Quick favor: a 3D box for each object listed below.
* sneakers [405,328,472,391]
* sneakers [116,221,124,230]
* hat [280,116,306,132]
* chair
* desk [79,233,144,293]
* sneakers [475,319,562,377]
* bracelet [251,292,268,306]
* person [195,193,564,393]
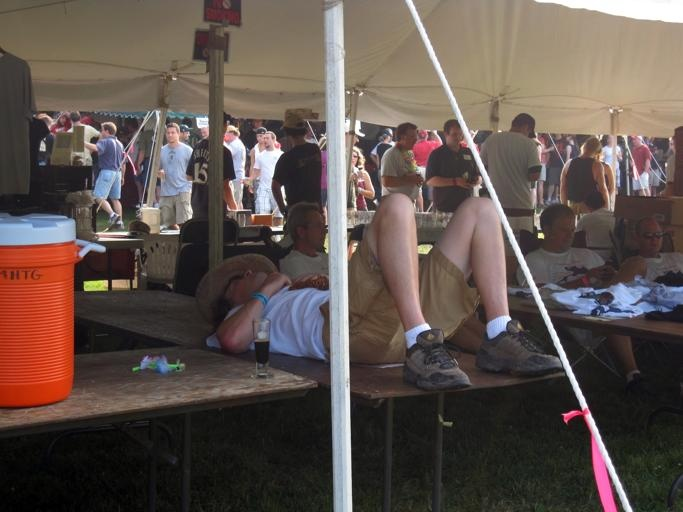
[{"bbox_3d":[0.378,0.411,2.519,0.182,0.212,0.234,-4,11,-33],"label":"sneakers"},{"bbox_3d":[-3.655,-0.514,10.504,0.117,0.167,0.369,-1,-1,-9],"label":"sneakers"},{"bbox_3d":[-0.503,-1.418,6.817,0.216,0.153,0.294,1,10,-8],"label":"hat"},{"bbox_3d":[-1.180,-0.022,5.344,0.528,0.899,0.580,1,3,-18],"label":"chair"},{"bbox_3d":[-2.055,0.038,5.718,0.300,0.409,0.561,-2,6,-31],"label":"desk"},{"bbox_3d":[0.751,0.403,2.773,0.381,0.240,0.154,1,-3,27],"label":"sneakers"},{"bbox_3d":[-0.398,0.203,3.142,0.040,0.060,0.055,-15,22,-34],"label":"bracelet"},{"bbox_3d":[0.093,0.217,3.014,1.490,0.639,0.887,-4,-7,42],"label":"person"}]
